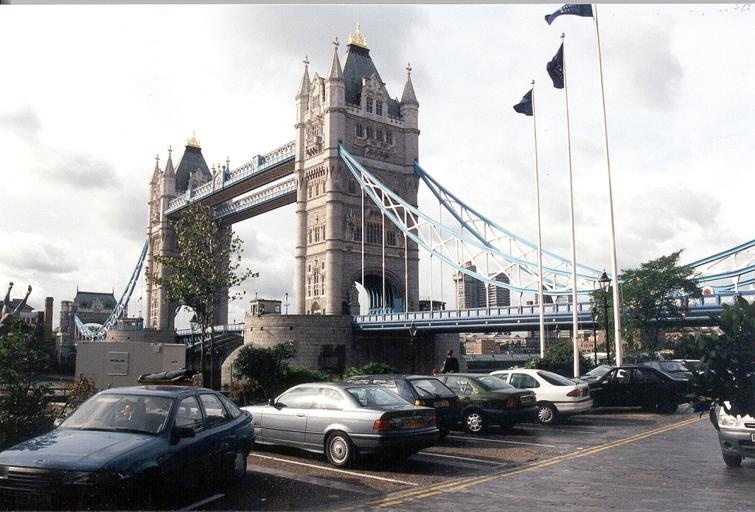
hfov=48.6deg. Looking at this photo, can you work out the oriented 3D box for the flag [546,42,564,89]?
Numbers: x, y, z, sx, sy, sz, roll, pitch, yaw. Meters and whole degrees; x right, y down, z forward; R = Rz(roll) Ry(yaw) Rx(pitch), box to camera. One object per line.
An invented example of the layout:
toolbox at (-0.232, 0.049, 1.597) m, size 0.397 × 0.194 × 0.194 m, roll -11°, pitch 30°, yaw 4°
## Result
flag at (8.586, -8.665, 40.129) m, size 0.735 × 2.549 × 2.240 m, roll -4°, pitch -14°, yaw 11°
